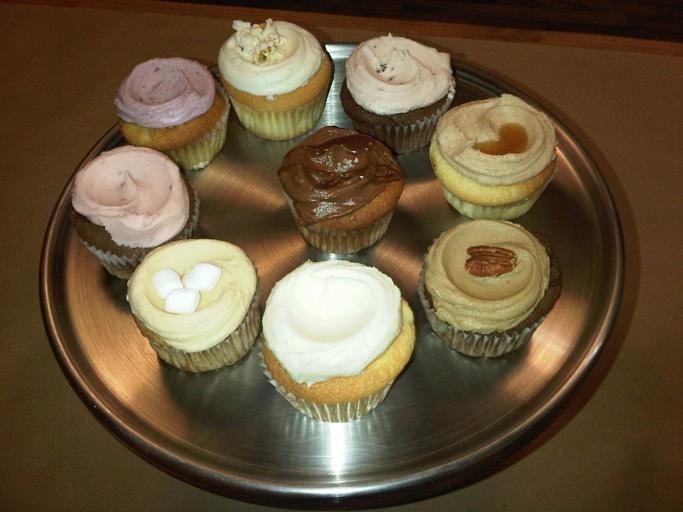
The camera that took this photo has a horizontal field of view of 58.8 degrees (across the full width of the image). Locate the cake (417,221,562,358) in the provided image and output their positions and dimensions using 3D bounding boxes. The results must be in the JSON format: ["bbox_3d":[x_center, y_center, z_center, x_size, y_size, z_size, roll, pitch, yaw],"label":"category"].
[{"bbox_3d":[0.756,0.160,3.181,0.639,0.420,0.651,35,67,28],"label":"cake"}]

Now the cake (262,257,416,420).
[{"bbox_3d":[-0.013,0.371,2.802,0.698,0.497,0.727,2,65,2],"label":"cake"}]

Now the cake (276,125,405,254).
[{"bbox_3d":[-0.027,-0.391,3.603,0.680,0.447,0.685,4,65,-1],"label":"cake"}]
